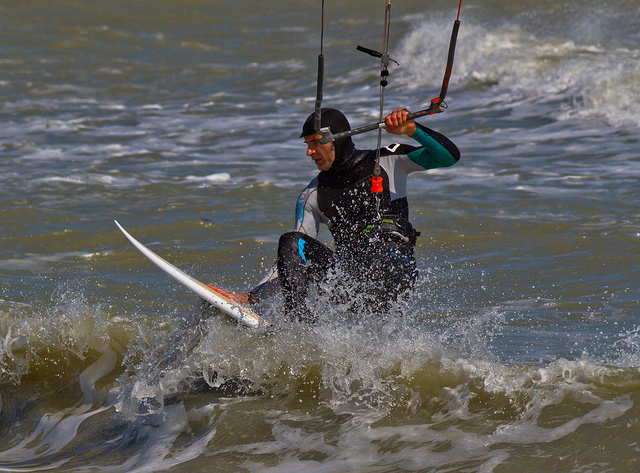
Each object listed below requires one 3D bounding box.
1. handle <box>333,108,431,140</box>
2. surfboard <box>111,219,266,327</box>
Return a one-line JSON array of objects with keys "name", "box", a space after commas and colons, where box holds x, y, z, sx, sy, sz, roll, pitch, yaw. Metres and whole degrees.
[{"name": "handle", "box": [0.675, -1.301, 14.160, 1.271, 0.121, 0.160, -14, 21, -22]}, {"name": "surfboard", "box": [-1.884, 0.586, 16.751, 2.557, 0.274, 0.250, 31, 64, 9]}]
